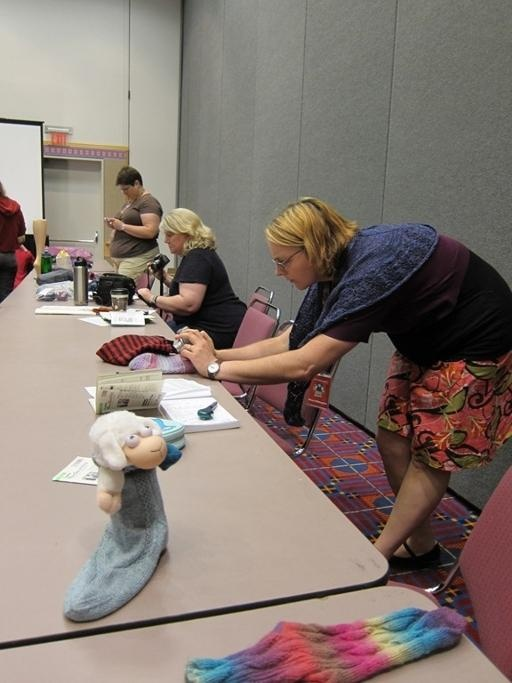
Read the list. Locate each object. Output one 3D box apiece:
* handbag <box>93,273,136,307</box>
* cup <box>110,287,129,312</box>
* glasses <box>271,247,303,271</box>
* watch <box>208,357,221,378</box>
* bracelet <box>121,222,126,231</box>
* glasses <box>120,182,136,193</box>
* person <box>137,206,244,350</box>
[{"bbox_3d":[-0.806,-0.304,3.237,0.282,0.220,0.201,7,8,31],"label":"handbag"},{"bbox_3d":[-0.733,-0.225,2.973,0.118,0.113,0.114,1,7,0],"label":"cup"},{"bbox_3d":[0.090,-0.226,1.527,0.064,0.018,0.057,-23,23,-3],"label":"glasses"},{"bbox_3d":[-0.129,0.084,1.761,0.041,0.060,0.059,23,-15,6],"label":"watch"},{"bbox_3d":[-1.222,-1.070,5.140,0.029,0.058,0.057,-4,2,-10],"label":"bracelet"},{"bbox_3d":[-1.194,-1.449,5.173,0.096,0.050,0.076,-32,27,-35],"label":"glasses"},{"bbox_3d":[-0.366,-0.235,3.310,0.666,0.987,0.537,8,15,21],"label":"person"}]
